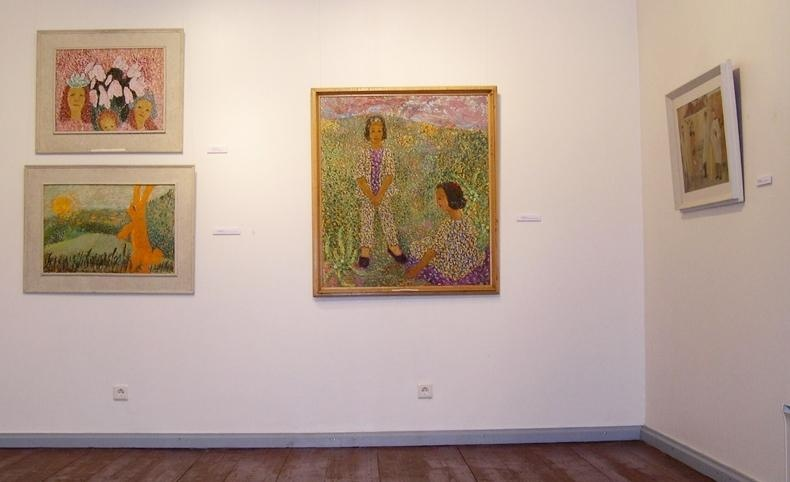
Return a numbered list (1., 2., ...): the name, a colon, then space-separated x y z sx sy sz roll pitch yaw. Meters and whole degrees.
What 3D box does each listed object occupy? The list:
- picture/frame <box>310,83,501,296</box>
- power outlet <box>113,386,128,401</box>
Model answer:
1. picture/frame: 0.058 -0.456 6.304 2.218 2.229 0.094 -1 -1 -4
2. power outlet: -2.829 1.570 6.268 0.151 0.152 0.030 1 1 4
